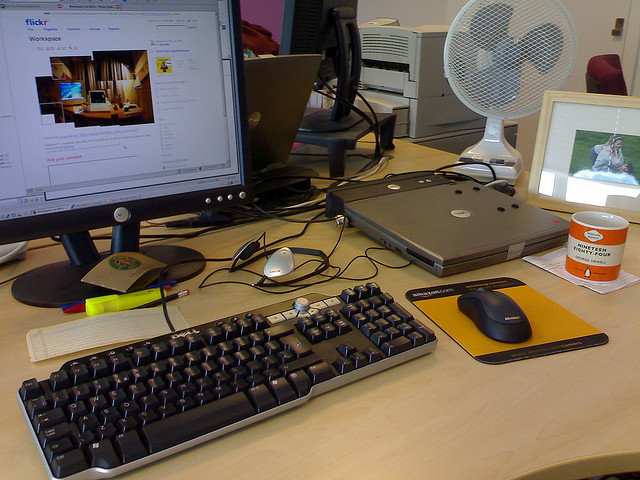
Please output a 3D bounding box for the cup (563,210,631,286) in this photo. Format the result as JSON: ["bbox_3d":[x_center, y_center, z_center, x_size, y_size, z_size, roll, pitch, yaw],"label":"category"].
[{"bbox_3d":[0.565,0.017,1.003,0.147,0.105,0.105,-9,16,-40],"label":"cup"}]

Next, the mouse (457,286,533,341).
[{"bbox_3d":[0.299,0.113,0.872,0.103,0.046,0.145,-7,23,-9],"label":"mouse"}]

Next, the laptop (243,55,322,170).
[{"bbox_3d":[-0.115,-0.332,1.351,0.117,0.291,0.275,10,26,29],"label":"laptop"}]

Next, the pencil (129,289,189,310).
[{"bbox_3d":[-0.297,0.109,0.916,0.104,0.009,0.010,-16,32,-29],"label":"pencil"}]

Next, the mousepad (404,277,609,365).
[{"bbox_3d":[0.311,0.120,0.879,0.307,0.028,0.290,19,31,35],"label":"mousepad"}]

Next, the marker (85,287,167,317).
[{"bbox_3d":[-0.354,0.108,0.899,0.110,0.023,0.050,-9,20,-30],"label":"marker"}]

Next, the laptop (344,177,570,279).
[{"bbox_3d":[0.299,-0.038,1.143,0.361,0.104,0.318,-13,23,-26],"label":"laptop"}]
